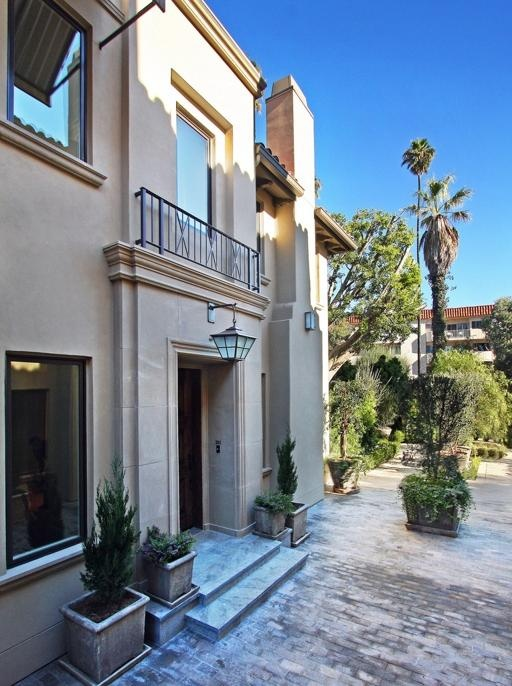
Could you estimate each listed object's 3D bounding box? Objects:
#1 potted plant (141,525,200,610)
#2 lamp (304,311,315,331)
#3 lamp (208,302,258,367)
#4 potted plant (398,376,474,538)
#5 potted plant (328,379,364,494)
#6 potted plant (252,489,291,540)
[{"bbox_3d":[-0.929,2.297,5.552,0.501,0.876,0.599,-3,-4,34],"label":"potted plant"},{"bbox_3d":[1.073,-0.465,10.305,0.084,0.335,0.307,-1,-6,15],"label":"lamp"},{"bbox_3d":[-0.261,-0.126,6.844,0.718,1.310,0.482,-2,-3,31],"label":"lamp"},{"bbox_3d":[3.232,1.923,9.205,1.099,2.812,1.899,2,1,24],"label":"potted plant"},{"bbox_3d":[2.085,2.131,11.999,0.779,2.293,1.436,2,1,9],"label":"potted plant"},{"bbox_3d":[0.256,2.513,7.621,0.406,0.629,0.528,-4,-9,31],"label":"potted plant"}]
